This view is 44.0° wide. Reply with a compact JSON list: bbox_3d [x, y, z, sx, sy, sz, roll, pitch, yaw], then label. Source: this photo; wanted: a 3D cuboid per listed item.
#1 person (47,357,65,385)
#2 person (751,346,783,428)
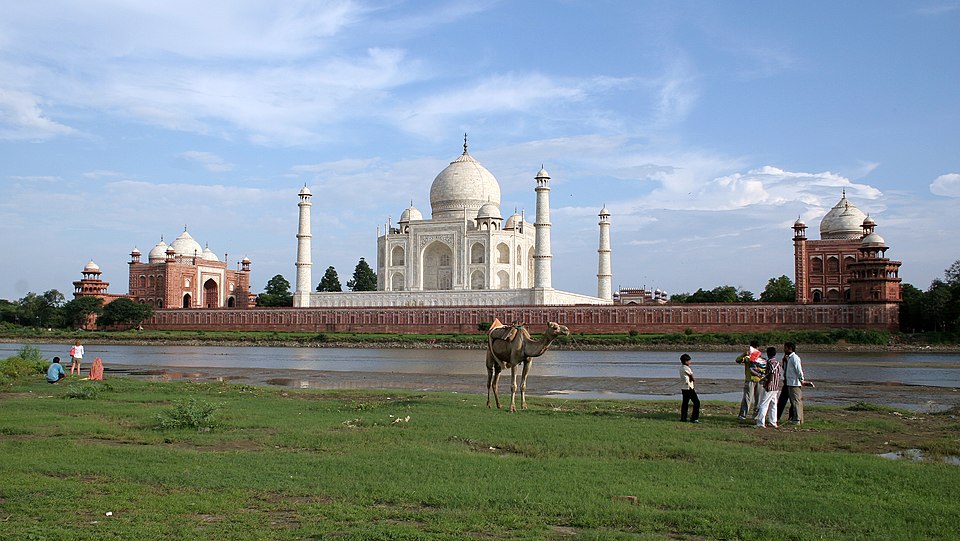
[{"bbox_3d":[-17.418,4.095,48.805,0.658,1.019,1.223,3,-4,-18],"label":"person"},{"bbox_3d":[10.410,4.197,42.845,0.794,2.843,1.296,0,-5,19],"label":"person"}]
